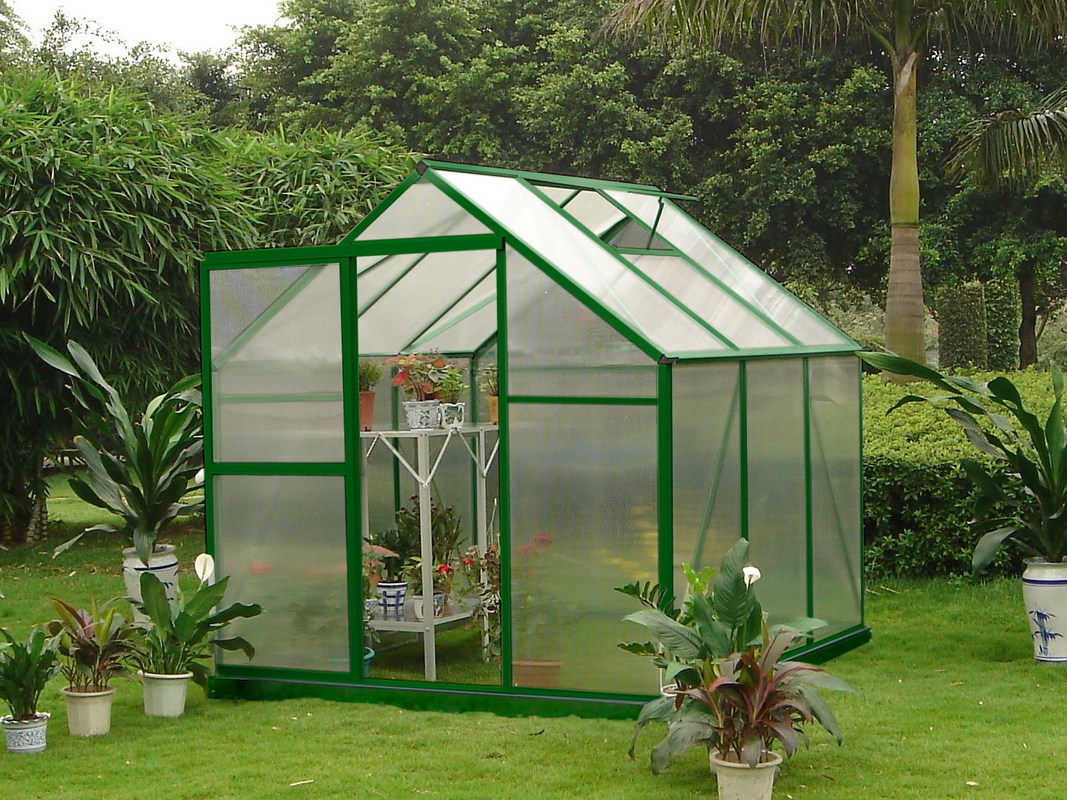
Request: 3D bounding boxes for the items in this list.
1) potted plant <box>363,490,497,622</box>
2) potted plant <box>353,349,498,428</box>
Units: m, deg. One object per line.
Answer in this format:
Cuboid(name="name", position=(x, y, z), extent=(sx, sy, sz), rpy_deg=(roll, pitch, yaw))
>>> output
Cuboid(name="potted plant", position=(-0.894, 1.386, 13.639), extent=(1.009, 1.211, 1.018), rpy_deg=(-2, -4, 43))
Cuboid(name="potted plant", position=(-1.042, -0.150, 13.442), extent=(0.854, 0.558, 0.874), rpy_deg=(-3, -3, 39))
